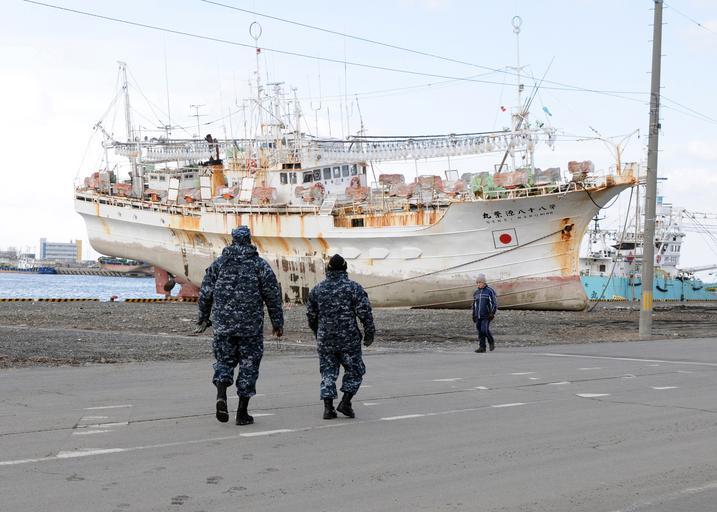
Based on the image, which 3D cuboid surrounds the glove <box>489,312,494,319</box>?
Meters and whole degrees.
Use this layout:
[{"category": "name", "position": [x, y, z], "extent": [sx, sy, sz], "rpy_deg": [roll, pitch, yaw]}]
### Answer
[{"category": "glove", "position": [2.970, 1.376, 19.337], "extent": [0.058, 0.140, 0.110], "rpy_deg": [10, -6, -44]}]

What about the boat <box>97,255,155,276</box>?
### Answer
[{"category": "boat", "position": [-30.499, 1.529, 113.229], "extent": [14.643, 2.994, 3.298], "rpy_deg": [-1, -3, 44]}]

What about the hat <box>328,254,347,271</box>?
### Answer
[{"category": "hat", "position": [-0.308, 0.100, 11.849], "extent": [0.206, 0.158, 0.259], "rpy_deg": [1, -6, -6]}]

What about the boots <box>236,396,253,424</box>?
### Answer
[{"category": "boots", "position": [-1.459, 1.994, 10.957], "extent": [0.222, 0.336, 0.324], "rpy_deg": [-2, 4, -8]}]

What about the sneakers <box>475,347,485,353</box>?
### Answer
[{"category": "sneakers", "position": [2.722, 2.157, 19.393], "extent": [0.269, 0.164, 0.094], "rpy_deg": [1, 0, 9]}]

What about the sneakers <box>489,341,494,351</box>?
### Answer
[{"category": "sneakers", "position": [3.015, 2.097, 19.706], "extent": [0.085, 0.227, 0.103], "rpy_deg": [0, -21, 31]}]

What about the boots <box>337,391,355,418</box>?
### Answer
[{"category": "boots", "position": [-0.182, 2.017, 11.532], "extent": [0.241, 0.320, 0.492], "rpy_deg": [-2, 4, -1]}]

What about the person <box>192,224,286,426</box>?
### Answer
[{"category": "person", "position": [-1.540, 0.898, 11.203], "extent": [1.136, 2.534, 1.134], "rpy_deg": [-3, 4, -10]}]

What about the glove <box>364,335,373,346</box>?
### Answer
[{"category": "glove", "position": [0.133, 1.211, 12.003], "extent": [0.123, 0.148, 0.060], "rpy_deg": [2, -2, 27]}]

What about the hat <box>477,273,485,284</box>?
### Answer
[{"category": "hat", "position": [2.805, 0.535, 19.434], "extent": [0.252, 0.247, 0.324], "rpy_deg": [2, 1, 2]}]

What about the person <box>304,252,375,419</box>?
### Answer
[{"category": "person", "position": [-0.255, 1.090, 11.768], "extent": [0.898, 2.192, 1.118], "rpy_deg": [-2, 4, 1]}]

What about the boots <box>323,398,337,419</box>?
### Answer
[{"category": "boots", "position": [-0.387, 2.045, 11.428], "extent": [0.198, 0.275, 0.390], "rpy_deg": [-2, 4, -3]}]
